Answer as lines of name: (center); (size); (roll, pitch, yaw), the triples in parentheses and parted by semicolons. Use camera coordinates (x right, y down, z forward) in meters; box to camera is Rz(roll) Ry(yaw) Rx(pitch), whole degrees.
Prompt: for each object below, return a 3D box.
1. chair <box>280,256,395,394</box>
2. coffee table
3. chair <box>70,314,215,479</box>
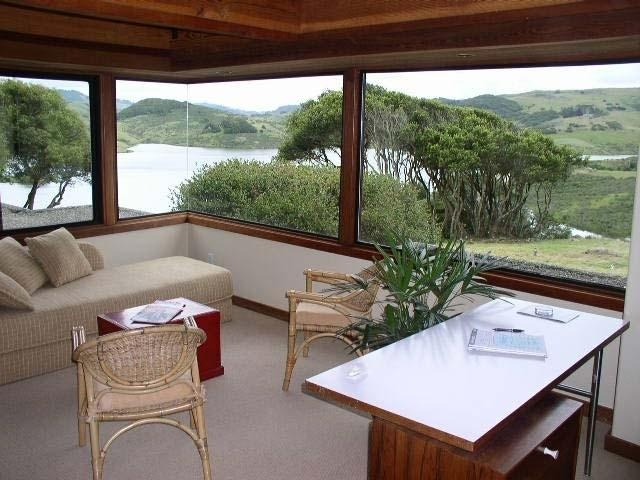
chair: (0.062, 0.668, 4.109); (1.082, 1.430, 0.963); (4, 9, 5)
coffee table: (-1.393, 0.684, 4.036); (1.175, 0.720, 0.784); (-7, 16, -26)
chair: (-1.176, 1.073, 2.877); (0.748, 1.046, 0.762); (-5, 26, -21)
